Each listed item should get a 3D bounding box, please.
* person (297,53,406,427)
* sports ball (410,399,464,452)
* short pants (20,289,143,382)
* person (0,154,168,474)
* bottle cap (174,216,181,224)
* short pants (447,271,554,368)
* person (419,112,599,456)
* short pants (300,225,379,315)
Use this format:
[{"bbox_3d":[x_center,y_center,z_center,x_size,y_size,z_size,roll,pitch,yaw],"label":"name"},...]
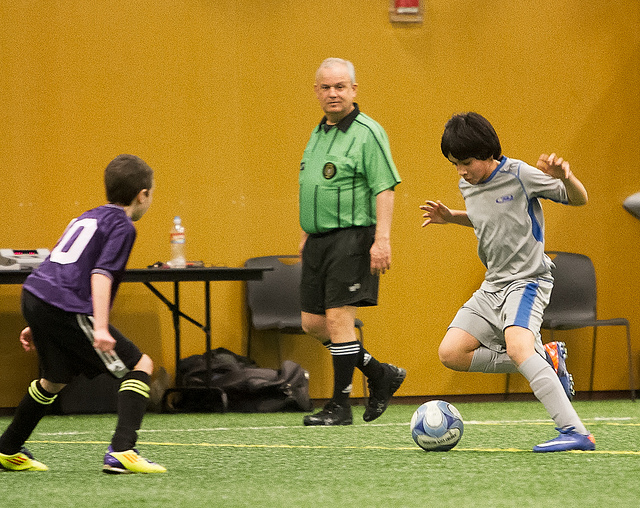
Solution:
[{"bbox_3d":[0.141,-0.051,4.256,0.533,1.992,0.496,2,-4,3],"label":"person"},{"bbox_3d":[0.494,0.716,3.320,0.216,0.219,0.219,8,-36,6],"label":"sports ball"},{"bbox_3d":[-0.916,0.325,2.930,0.350,0.386,0.353,2,4,-10],"label":"short pants"},{"bbox_3d":[-0.897,0.323,2.890,0.629,1.025,0.257,1,-4,17],"label":"person"},{"bbox_3d":[-1.015,-0.243,5.438,0.051,0.049,0.052,0,-1,3],"label":"bottle cap"},{"bbox_3d":[0.806,0.240,3.435,0.422,0.445,0.397,1,5,-2],"label":"short pants"},{"bbox_3d":[0.894,0.113,3.437,0.688,1.448,0.651,0,-4,32],"label":"person"},{"bbox_3d":[0.079,0.063,4.226,0.415,0.572,0.308,-11,-18,37],"label":"short pants"}]
